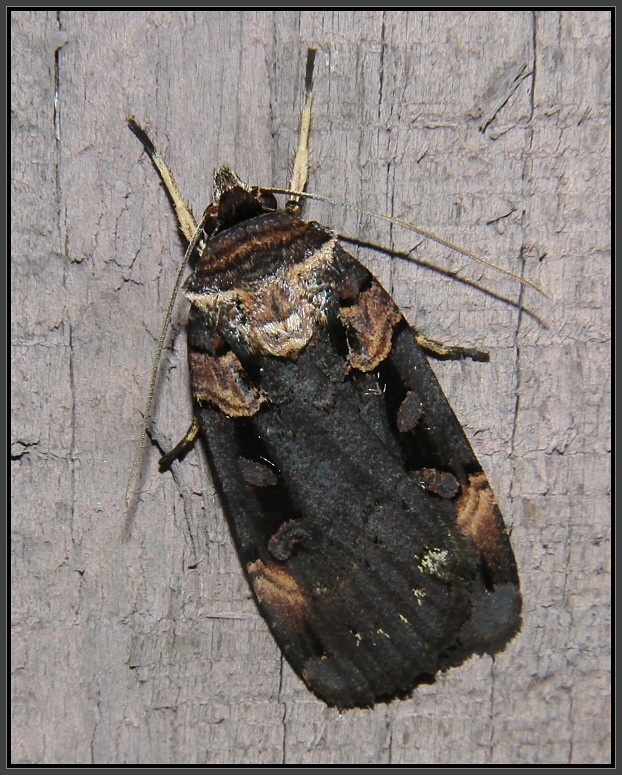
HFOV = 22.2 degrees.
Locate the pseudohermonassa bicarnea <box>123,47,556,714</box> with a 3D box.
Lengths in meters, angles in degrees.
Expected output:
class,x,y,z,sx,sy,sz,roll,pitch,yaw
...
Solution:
class,x,y,z,sx,sy,sz,roll,pitch,yaw
pseudohermonassa bicarnea,0.095,0.087,5.940,1.424,0.526,1.990,-23,86,9
